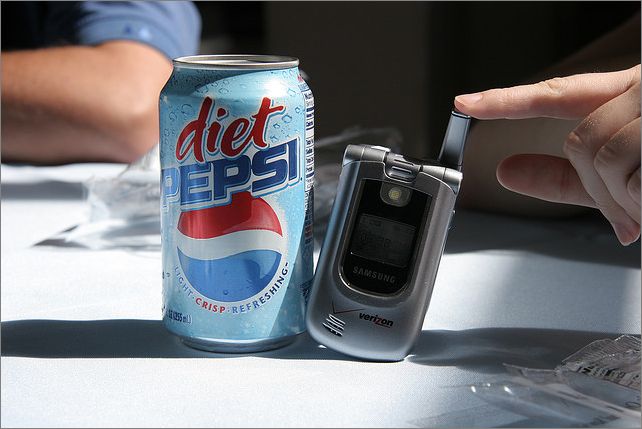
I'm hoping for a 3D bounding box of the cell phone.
[{"bbox_3d":[0.065,0.041,0.666,0.131,0.176,0.159,12,35,16],"label":"cell phone"}]
